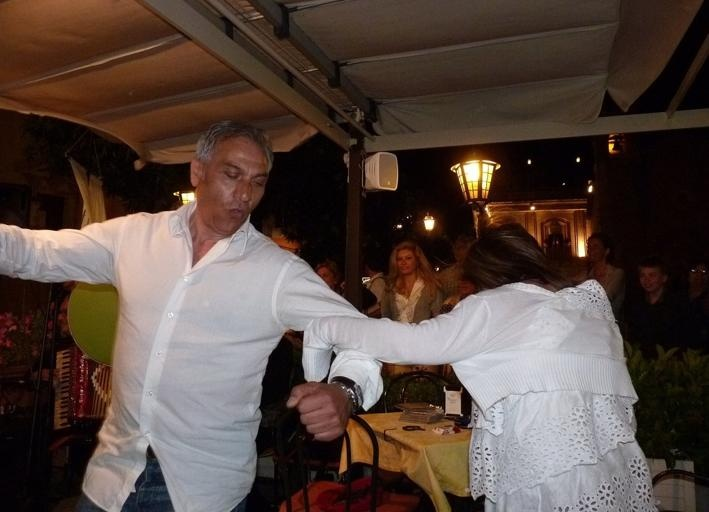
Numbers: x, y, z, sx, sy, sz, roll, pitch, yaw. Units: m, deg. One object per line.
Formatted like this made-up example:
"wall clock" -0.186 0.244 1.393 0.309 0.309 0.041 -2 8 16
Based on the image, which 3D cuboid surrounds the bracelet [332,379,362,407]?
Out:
"bracelet" -0.035 0.629 2.390 0.061 0.094 0.089 -15 -38 -54
